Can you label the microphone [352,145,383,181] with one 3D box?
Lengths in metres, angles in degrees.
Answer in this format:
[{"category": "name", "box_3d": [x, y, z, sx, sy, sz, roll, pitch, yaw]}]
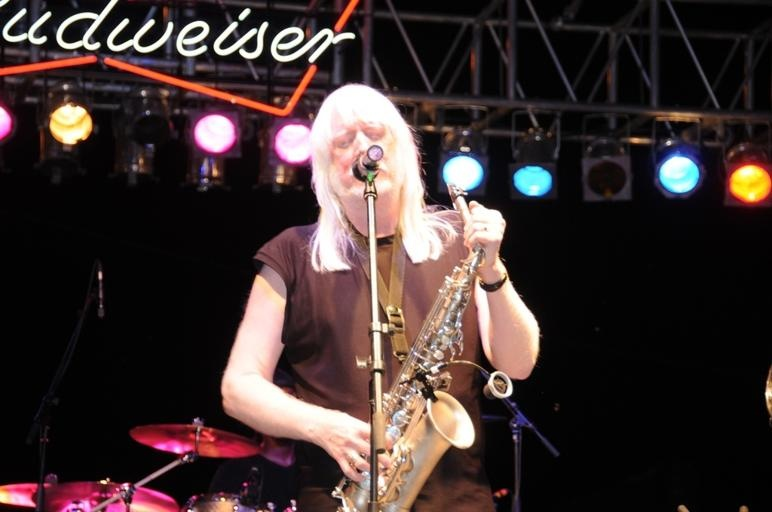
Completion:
[{"category": "microphone", "box_3d": [-0.129, -0.699, 7.699, 0.137, 0.146, 0.338, -29, 4, 2]}]
